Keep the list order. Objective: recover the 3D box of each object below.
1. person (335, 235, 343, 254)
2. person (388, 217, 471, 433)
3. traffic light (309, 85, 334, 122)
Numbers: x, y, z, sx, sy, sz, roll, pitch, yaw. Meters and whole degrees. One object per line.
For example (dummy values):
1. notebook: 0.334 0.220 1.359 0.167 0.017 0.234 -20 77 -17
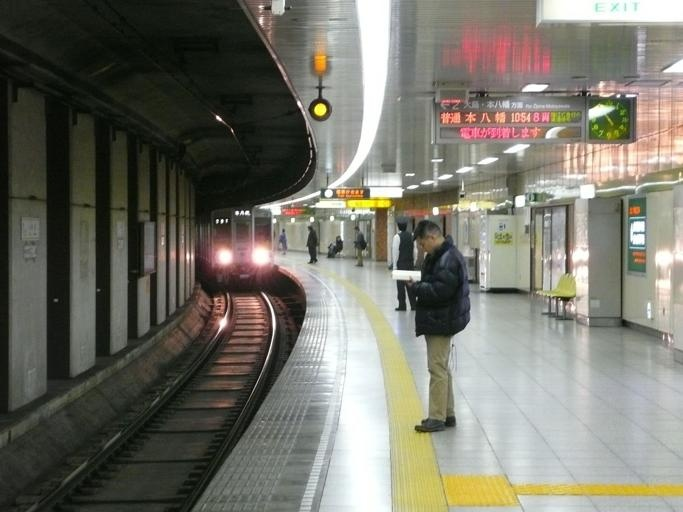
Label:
1. person: -0.193 -0.677 40.346 0.354 0.974 1.290 0 5 -3
2. person: 0.930 0.684 6.422 0.607 2.038 0.426 1 5 11
3. traffic light: -0.290 -2.053 8.896 0.264 0.527 0.801 0 5 -3
